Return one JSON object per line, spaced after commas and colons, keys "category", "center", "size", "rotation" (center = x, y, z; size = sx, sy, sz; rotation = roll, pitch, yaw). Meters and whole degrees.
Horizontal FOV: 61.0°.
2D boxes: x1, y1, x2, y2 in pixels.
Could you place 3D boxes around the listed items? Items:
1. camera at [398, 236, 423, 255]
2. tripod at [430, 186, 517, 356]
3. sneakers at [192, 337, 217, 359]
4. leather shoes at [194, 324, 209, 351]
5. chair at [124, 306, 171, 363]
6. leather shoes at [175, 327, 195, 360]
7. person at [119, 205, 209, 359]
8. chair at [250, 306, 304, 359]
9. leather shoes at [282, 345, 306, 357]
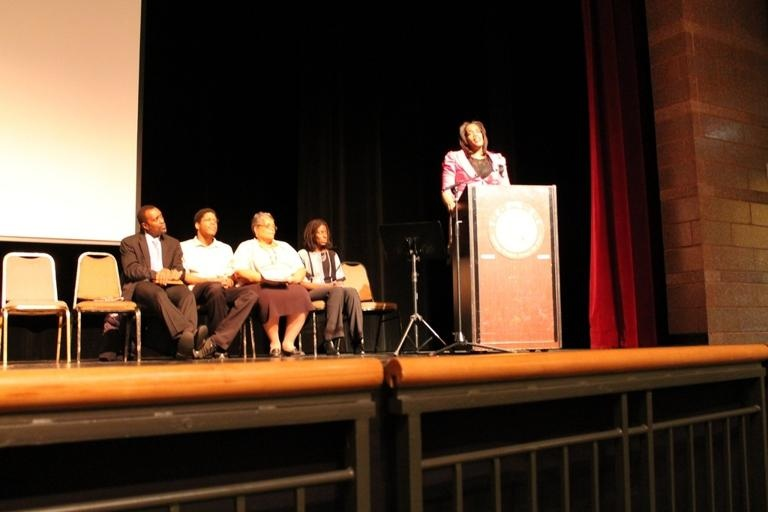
{"category": "camera", "center": [0.175, -0.072, 4.412], "size": [0.115, 0.131, 0.124], "rotation": [-2, 2, -12]}
{"category": "tripod", "center": [0.435, 0.128, 3.552], "size": [0.433, 0.620, 0.567], "rotation": [-3, -2, 0]}
{"category": "sneakers", "center": [-1.109, 0.581, 4.064], "size": [0.084, 0.121, 0.187], "rotation": [-4, -2, 26]}
{"category": "leather shoes", "center": [-1.145, 0.510, 4.086], "size": [0.058, 0.165, 0.063], "rotation": [14, 1, -35]}
{"category": "chair", "center": [-1.693, 0.553, 4.598], "size": [0.277, 0.379, 0.307], "rotation": [-30, -26, 36]}
{"category": "leather shoes", "center": [-1.212, 0.548, 4.052], "size": [0.124, 0.168, 0.171], "rotation": [2, -15, -12]}
{"category": "person", "center": [-1.526, 0.138, 4.404], "size": [0.463, 1.042, 1.023], "rotation": [-2, -2, -22]}
{"category": "chair", "center": [-0.674, 0.534, 4.368], "size": [0.277, 0.263, 0.426], "rotation": [-3, -2, -2]}
{"category": "leather shoes", "center": [-0.614, 0.636, 4.325], "size": [0.165, 0.064, 0.074], "rotation": [-1, -6, 7]}
